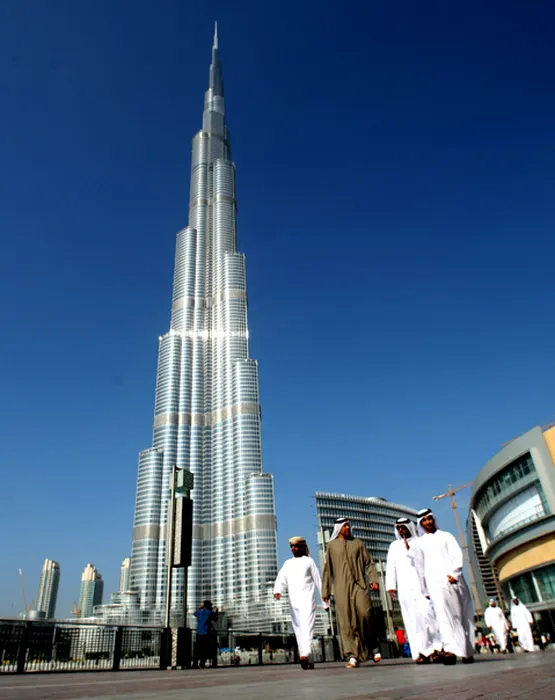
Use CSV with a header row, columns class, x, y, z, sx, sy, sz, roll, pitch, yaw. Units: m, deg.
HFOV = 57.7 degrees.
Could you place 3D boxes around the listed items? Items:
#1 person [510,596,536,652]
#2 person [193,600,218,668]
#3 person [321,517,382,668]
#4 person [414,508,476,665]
class,x,y,z,sx,sy,sz,roll,pitch,yaw
person,9.619,10.809,19.900,0.742,2.189,0.675,-12,-1,18
person,-1.909,7.488,13.232,0.618,1.561,2.866,-1,-26,-8
person,1.182,3.903,8.238,0.909,2.270,0.970,-6,-25,4
person,2.587,3.623,7.853,0.695,2.167,0.953,-10,-26,11
